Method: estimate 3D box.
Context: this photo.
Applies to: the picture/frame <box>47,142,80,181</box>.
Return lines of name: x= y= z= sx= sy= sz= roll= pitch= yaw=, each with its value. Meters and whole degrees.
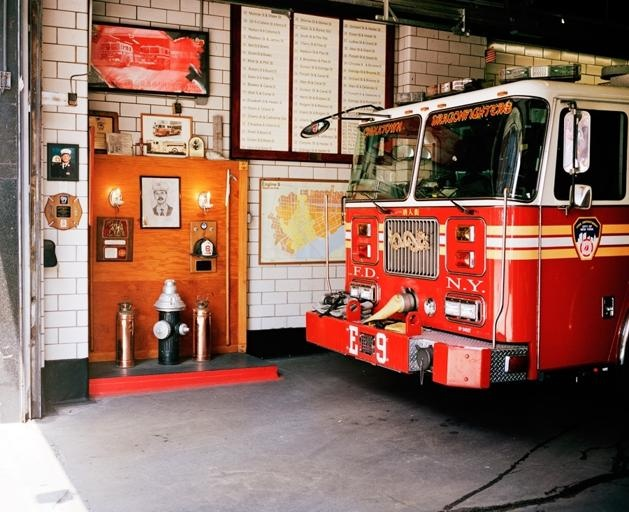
picture/frame: x=-2.595 y=-0.979 z=6.983 sx=0.382 sy=0.503 sz=0.048 roll=1 pitch=3 yaw=-27

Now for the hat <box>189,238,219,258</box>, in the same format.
hat: x=-1.376 y=-0.104 z=8.554 sx=0.240 sy=0.192 sz=0.268 roll=1 pitch=0 yaw=-24

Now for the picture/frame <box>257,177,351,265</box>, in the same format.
picture/frame: x=-0.207 y=-0.494 z=9.130 sx=1.150 sy=0.896 sz=0.042 roll=-2 pitch=0 yaw=-27

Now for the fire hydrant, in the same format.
fire hydrant: x=-1.707 y=0.782 z=8.071 sx=0.382 sy=0.975 sz=0.293 roll=-1 pitch=6 yaw=-13

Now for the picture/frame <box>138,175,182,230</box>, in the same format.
picture/frame: x=-1.930 y=-0.685 z=8.388 sx=0.641 sy=0.905 sz=0.039 roll=-1 pitch=2 yaw=-28

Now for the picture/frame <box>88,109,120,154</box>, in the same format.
picture/frame: x=-2.564 y=-1.528 z=8.301 sx=0.342 sy=0.515 sz=0.122 roll=-1 pitch=6 yaw=-18
